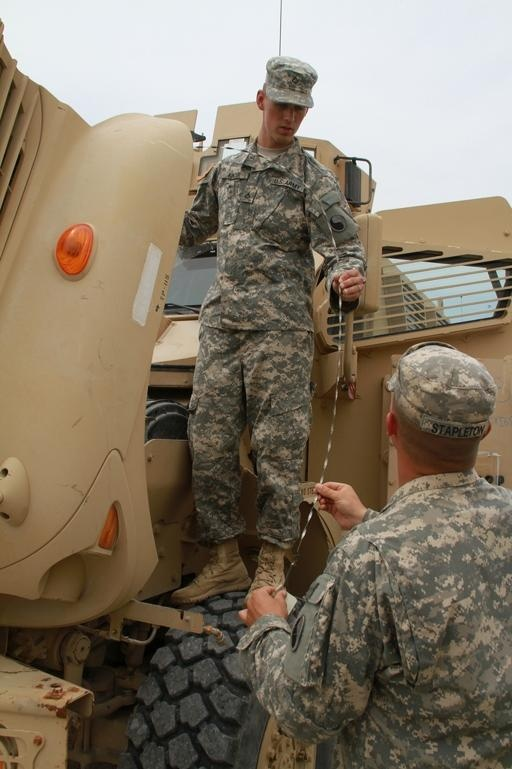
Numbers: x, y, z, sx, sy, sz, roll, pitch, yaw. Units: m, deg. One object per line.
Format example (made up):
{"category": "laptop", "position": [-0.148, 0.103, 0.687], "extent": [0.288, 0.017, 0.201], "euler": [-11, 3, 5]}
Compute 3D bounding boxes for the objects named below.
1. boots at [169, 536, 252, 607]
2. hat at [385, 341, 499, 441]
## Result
{"category": "boots", "position": [-0.193, 0.625, 2.330], "extent": [0.334, 0.222, 0.122], "euler": [-5, -14, -25]}
{"category": "hat", "position": [0.296, 0.006, 1.146], "extent": [0.129, 0.161, 0.085], "euler": [-9, -54, -11]}
